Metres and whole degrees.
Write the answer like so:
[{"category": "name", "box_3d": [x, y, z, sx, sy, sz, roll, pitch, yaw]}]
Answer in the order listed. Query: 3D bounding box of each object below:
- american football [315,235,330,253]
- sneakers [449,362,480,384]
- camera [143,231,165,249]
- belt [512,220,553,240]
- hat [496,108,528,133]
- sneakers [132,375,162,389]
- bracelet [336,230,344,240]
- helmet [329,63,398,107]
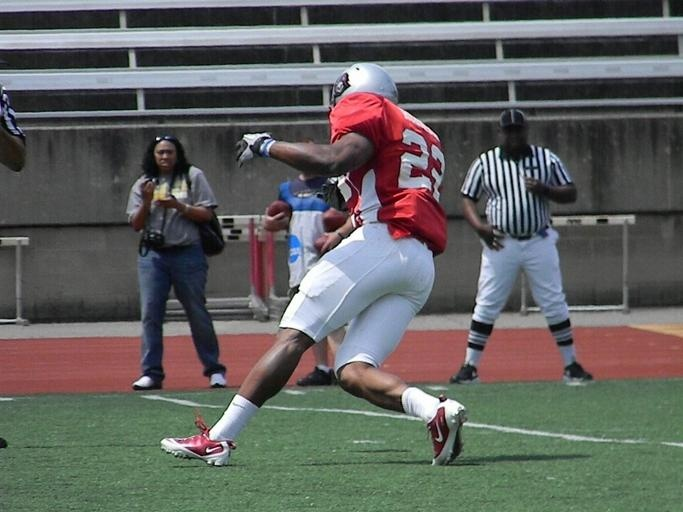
[{"category": "american football", "box_3d": [-0.220, -0.144, 17.409, 0.164, 0.084, 0.213, 29, -48, -24]}, {"category": "sneakers", "box_3d": [1.488, 1.405, 18.632, 0.356, 0.224, 0.181, 4, -6, -3]}, {"category": "camera", "box_3d": [-2.196, -0.183, 18.295, 0.267, 0.176, 0.231, 1, -2, -6]}, {"category": "belt", "box_3d": [2.252, -0.282, 18.314, 0.490, 0.179, 0.093, -3, 10, -18]}, {"category": "hat", "box_3d": [2.033, -1.585, 18.361, 0.322, 0.204, 0.237, 0, 10, 4]}, {"category": "sneakers", "box_3d": [-2.276, 1.474, 18.348, 0.354, 0.139, 0.137, 5, 2, -16]}, {"category": "bracelet", "box_3d": [-0.012, -0.226, 17.063, 0.046, 0.088, 0.066, -17, 17, -20]}, {"category": "helmet", "box_3d": [0.270, -1.717, 15.890, 0.563, 0.463, 0.431, 17, 6, 24]}]
